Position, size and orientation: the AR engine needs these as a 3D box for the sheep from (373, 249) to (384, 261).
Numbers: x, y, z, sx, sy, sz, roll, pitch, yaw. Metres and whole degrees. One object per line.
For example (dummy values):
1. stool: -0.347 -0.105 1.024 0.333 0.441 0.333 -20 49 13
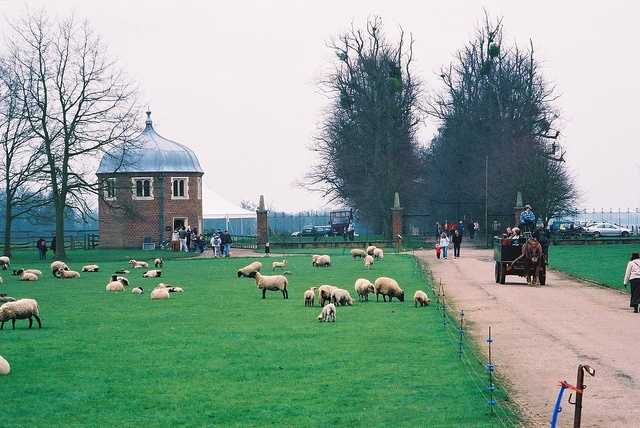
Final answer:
1. sheep: 4.111 2.820 61.974 0.679 0.970 1.358 0 12 5

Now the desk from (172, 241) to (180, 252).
1. desk: -13.415 2.829 79.044 0.901 0.928 0.834 0 -4 -9

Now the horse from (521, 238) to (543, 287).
1. horse: 11.908 2.621 48.397 0.937 2.865 1.296 6 14 28

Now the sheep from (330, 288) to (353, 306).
1. sheep: 0.951 3.988 41.418 1.316 0.943 0.551 -10 15 -37

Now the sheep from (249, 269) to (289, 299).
1. sheep: -2.513 3.643 44.228 1.726 1.341 2.118 -2 12 -5

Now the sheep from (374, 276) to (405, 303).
1. sheep: 3.429 3.750 43.027 1.469 1.190 0.976 0 12 5

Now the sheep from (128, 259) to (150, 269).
1. sheep: -12.297 3.351 58.117 1.014 0.403 0.732 4 -2 3

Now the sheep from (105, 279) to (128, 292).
1. sheep: -10.859 3.814 46.000 0.852 0.522 1.150 3 13 18

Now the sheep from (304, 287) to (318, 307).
1. sheep: -0.540 4.021 41.697 0.495 0.791 0.815 -1 12 -1

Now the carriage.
1. carriage: 11.198 2.519 48.761 2.411 2.837 4.071 1 0 0

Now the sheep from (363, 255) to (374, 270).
1. sheep: 3.080 3.084 54.866 0.424 0.830 1.061 -1 12 1

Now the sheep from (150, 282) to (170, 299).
1. sheep: -8.042 3.941 43.744 0.542 0.561 1.000 1 4 6

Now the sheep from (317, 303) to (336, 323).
1. sheep: 0.285 4.376 38.621 0.800 0.706 0.648 -1 12 -2

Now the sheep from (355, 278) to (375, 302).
1. sheep: 2.215 3.805 43.387 0.851 1.147 1.185 -2 12 -6

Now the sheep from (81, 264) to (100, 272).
1. sheep: -14.782 3.419 55.340 0.909 0.433 0.538 2 -2 1

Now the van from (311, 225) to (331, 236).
1. van: 0.188 1.779 98.397 1.816 0.858 1.046 5 1 0

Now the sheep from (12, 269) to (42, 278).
1. sheep: -17.635 3.519 51.680 1.440 0.725 0.422 2 -5 2

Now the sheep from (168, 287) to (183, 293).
1. sheep: -7.655 3.918 45.408 0.728 0.326 0.631 -2 12 -9

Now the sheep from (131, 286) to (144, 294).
1. sheep: -9.705 3.976 45.507 0.583 0.342 1.047 -3 12 -11

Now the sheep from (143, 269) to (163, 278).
1. sheep: -10.199 3.602 52.084 1.122 0.462 0.901 -4 13 -16

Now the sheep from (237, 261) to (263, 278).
1. sheep: -4.028 3.148 49.106 1.650 0.837 0.598 -22 1 24

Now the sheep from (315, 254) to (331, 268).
1. sheep: 0.233 3.092 57.660 1.062 0.692 0.525 4 3 14

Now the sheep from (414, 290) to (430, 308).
1. sheep: 4.896 4.031 41.732 0.699 0.684 0.998 1 12 7

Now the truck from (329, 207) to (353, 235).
1. truck: 2.392 0.866 99.271 2.330 2.116 3.817 2 6 3

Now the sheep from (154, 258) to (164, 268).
1. sheep: -11.036 3.295 58.720 0.475 0.793 1.558 -4 13 -14

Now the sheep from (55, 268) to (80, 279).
1. sheep: -15.079 3.536 51.289 1.180 0.486 0.646 4 2 6
